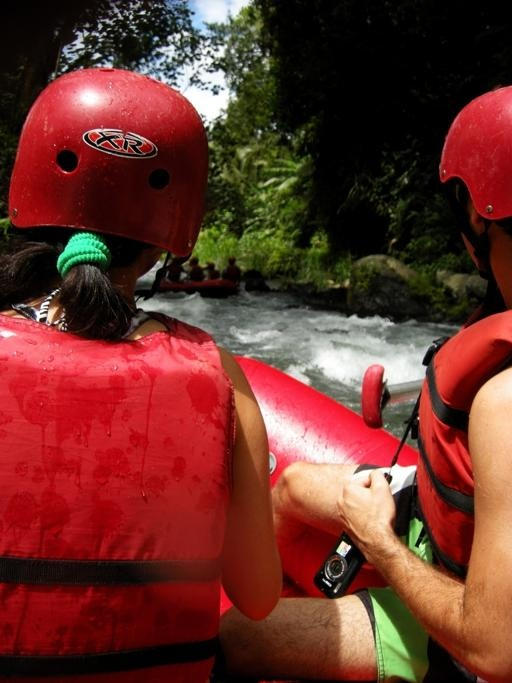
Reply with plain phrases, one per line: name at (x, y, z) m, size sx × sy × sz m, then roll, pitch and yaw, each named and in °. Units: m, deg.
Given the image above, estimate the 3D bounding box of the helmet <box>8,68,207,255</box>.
helmet at (-0.186, -0.259, 0.837) m, size 0.232 × 0.209 × 0.283 m, roll 18°, pitch 24°, yaw 1°
